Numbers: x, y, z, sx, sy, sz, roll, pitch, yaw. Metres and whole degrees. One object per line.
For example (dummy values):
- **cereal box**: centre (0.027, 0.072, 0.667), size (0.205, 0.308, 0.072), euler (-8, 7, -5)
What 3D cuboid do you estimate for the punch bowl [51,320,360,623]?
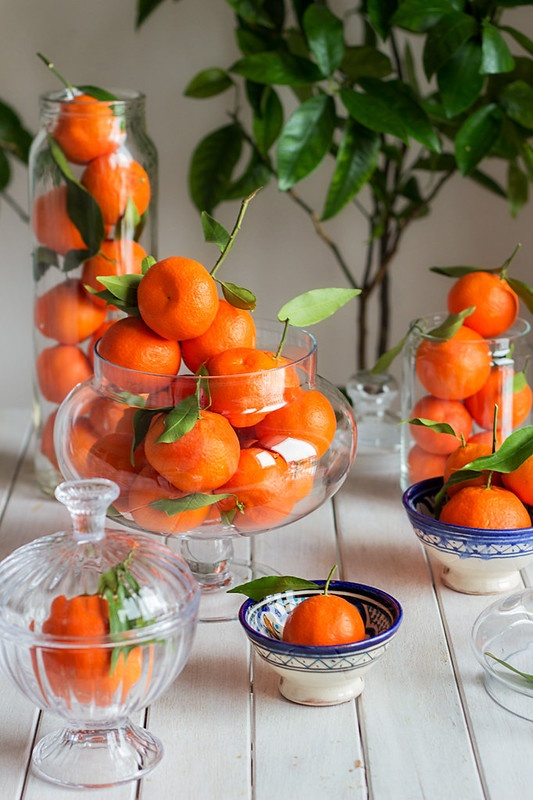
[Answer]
- **punch bowl**: centre (-0.033, 0.045, 0.603), size (0.239, 0.251, 0.247), euler (2, 9, 0)

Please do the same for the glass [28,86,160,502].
- **glass**: centre (-0.219, -0.113, 0.870), size (0.132, 0.466, 0.157), euler (14, 20, 27)

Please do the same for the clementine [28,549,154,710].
- **clementine**: centre (-0.095, 0.118, 0.371), size (0.058, 0.056, 0.059), euler (1, -4, -20)

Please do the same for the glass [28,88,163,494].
- **glass**: centre (-0.219, -0.117, 0.877), size (0.136, 0.462, 0.159), euler (13, 22, 24)

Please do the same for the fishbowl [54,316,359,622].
- **fishbowl**: centre (-0.033, 0.066, 0.619), size (0.265, 0.230, 0.251), euler (0, 16, -2)
